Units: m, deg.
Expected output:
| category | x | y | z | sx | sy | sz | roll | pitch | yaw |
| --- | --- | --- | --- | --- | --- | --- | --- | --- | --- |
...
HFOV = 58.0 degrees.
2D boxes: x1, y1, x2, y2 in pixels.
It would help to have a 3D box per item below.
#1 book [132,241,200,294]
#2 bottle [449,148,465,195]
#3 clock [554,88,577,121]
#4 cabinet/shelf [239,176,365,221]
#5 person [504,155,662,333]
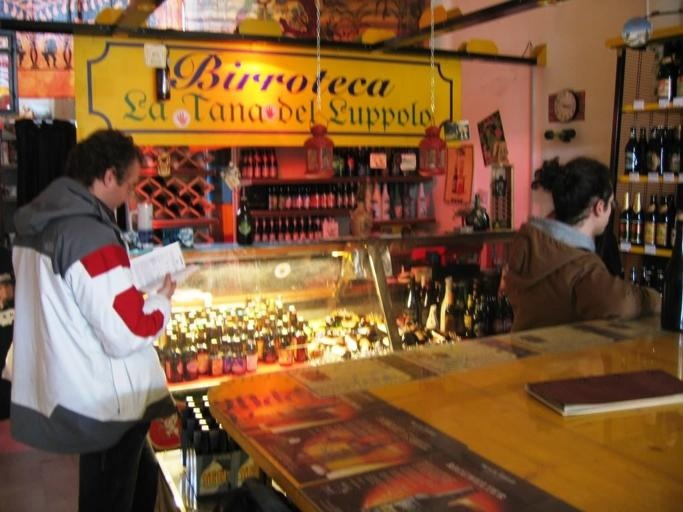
| category | x | y | z | sx | sy | sz | roll | pitch | yaw |
| --- | --- | --- | --- | --- | --- | --- | --- | --- | --- |
| book | -0.925 | 0.061 | 3.206 | 0.296 | 0.244 | 0.078 | -19 | 0 | -33 |
| bottle | 1.292 | -0.950 | 6.817 | 0.125 | 0.473 | 0.244 | 2 | 14 | 10 |
| clock | 2.521 | -1.704 | 6.938 | 0.260 | 0.302 | 0.280 | -7 | 15 | -11 |
| cabinet/shelf | -0.432 | -0.744 | 7.376 | 1.381 | 0.472 | 0.484 | -8 | 16 | -23 |
| person | 1.241 | -0.030 | 3.212 | 0.400 | 0.933 | 0.756 | -12 | 19 | -39 |
